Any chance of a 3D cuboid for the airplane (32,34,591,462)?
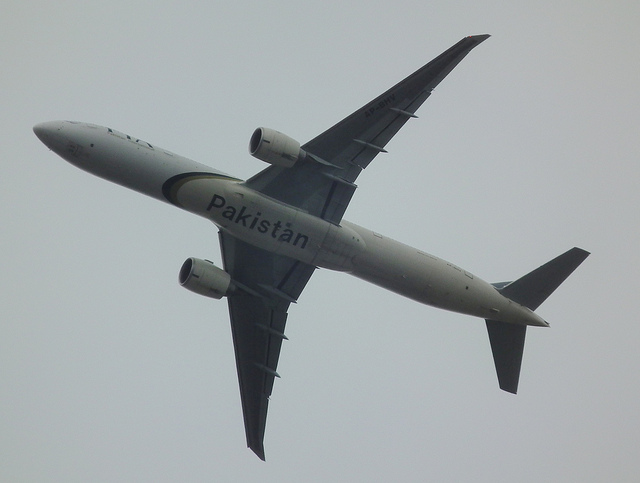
[{"bbox_3d":[0.329,0.122,58.185,21.028,6.938,14.074,2,-54,14],"label":"airplane"}]
